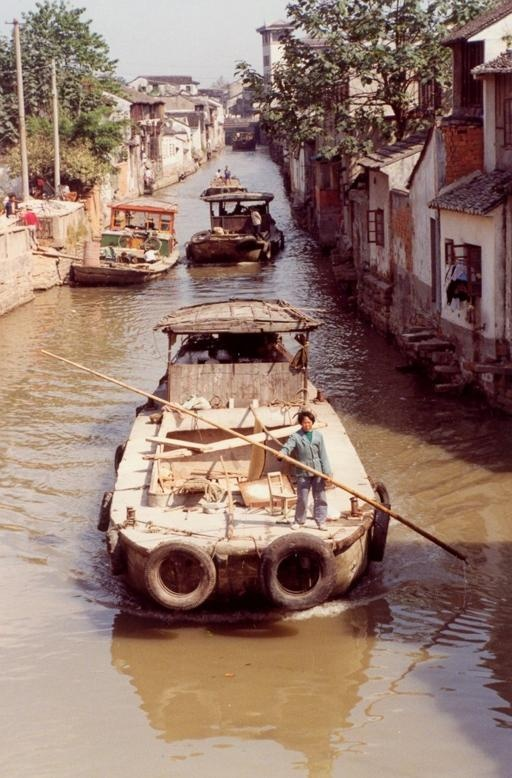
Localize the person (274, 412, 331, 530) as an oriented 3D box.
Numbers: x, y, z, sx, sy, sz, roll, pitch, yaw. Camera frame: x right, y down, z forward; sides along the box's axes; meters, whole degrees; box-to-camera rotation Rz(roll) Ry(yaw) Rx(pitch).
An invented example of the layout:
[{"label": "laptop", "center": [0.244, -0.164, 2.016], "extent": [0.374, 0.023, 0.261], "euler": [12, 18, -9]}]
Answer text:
[{"label": "person", "center": [0.452, 0.684, 7.745], "extent": [0.423, 0.967, 0.756], "euler": [0, 15, 5]}]

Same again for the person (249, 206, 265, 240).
[{"label": "person", "center": [0.061, -6.302, 32.783], "extent": [0.413, 1.226, 0.843], "euler": [-1, 10, 7]}]

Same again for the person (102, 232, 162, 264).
[{"label": "person", "center": [-4.321, -4.791, 29.475], "extent": [1.318, 0.652, 1.722], "euler": [2, 12, 0]}]
